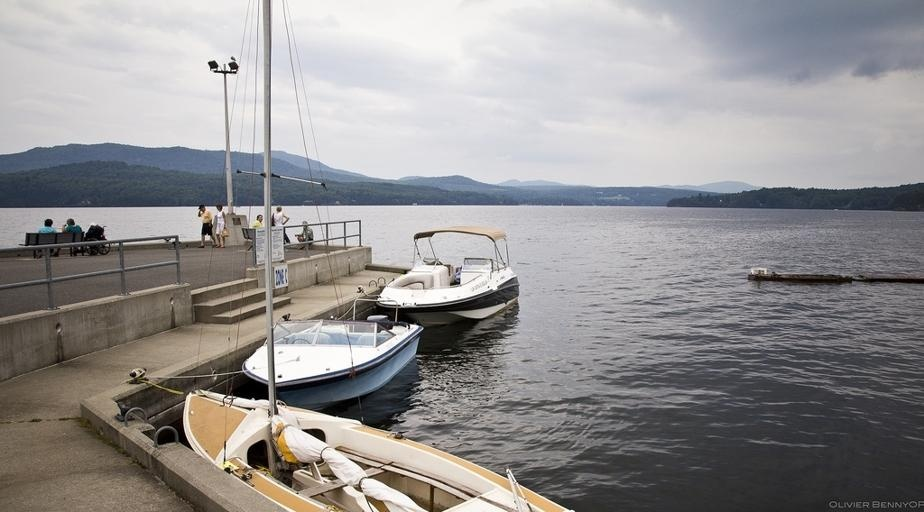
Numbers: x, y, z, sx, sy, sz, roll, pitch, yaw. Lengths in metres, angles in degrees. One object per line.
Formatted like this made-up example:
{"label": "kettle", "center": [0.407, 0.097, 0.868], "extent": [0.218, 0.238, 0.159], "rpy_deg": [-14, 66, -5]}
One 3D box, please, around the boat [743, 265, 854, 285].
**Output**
{"label": "boat", "center": [22.899, 1.410, 42.096], "extent": [6.081, 0.686, 2.329], "rpy_deg": [1, 5, 23]}

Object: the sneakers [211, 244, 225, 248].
{"label": "sneakers", "center": [-14.692, -0.591, 37.198], "extent": [0.681, 0.198, 0.198], "rpy_deg": [-1, 11, 17]}

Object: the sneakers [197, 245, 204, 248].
{"label": "sneakers", "center": [-15.894, -0.572, 37.603], "extent": [0.274, 0.175, 0.621], "rpy_deg": [2, 4, -27]}

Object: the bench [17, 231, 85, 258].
{"label": "bench", "center": [-19.662, -0.534, 29.691], "extent": [0.675, 0.760, 1.926], "rpy_deg": [10, 8, 35]}
